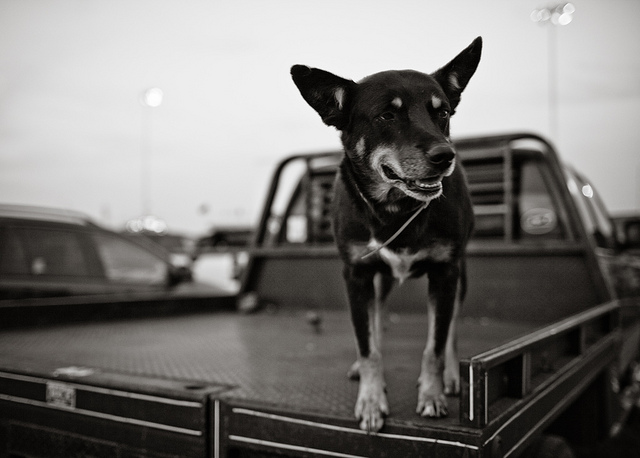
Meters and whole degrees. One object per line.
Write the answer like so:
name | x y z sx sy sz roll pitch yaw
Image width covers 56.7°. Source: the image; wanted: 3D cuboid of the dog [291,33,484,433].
dog | 0.358 -0.028 2.822 0.908 1.740 0.708 -1 13 -2
